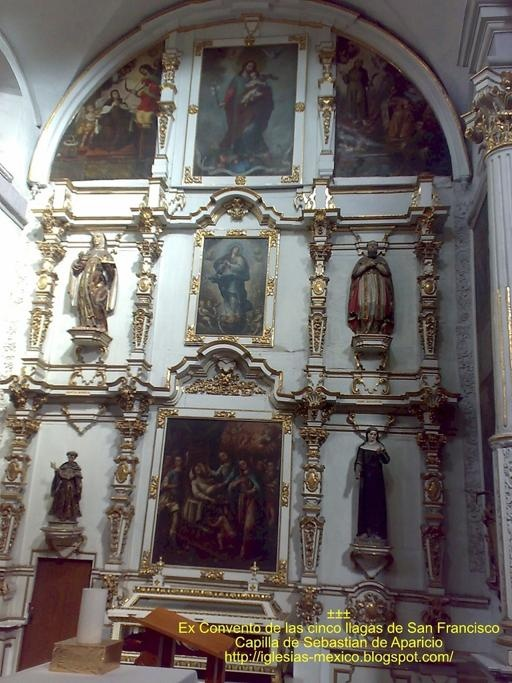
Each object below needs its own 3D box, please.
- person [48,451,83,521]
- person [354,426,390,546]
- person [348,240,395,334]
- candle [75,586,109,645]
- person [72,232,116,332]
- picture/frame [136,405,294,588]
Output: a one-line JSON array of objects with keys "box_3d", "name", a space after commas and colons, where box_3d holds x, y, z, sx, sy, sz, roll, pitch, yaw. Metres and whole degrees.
[{"box_3d": [-2.303, 1.798, 9.077, 0.467, 0.875, 0.321, 22, -29, -34], "name": "person"}, {"box_3d": [1.346, 1.653, 8.569, 0.375, 1.283, 0.339, 0, -25, 11], "name": "person"}, {"box_3d": [1.494, -0.650, 9.503, 0.578, 1.268, 0.393, 1, -25, 9], "name": "person"}, {"box_3d": [-0.891, 1.504, 4.045, 0.153, 0.291, 0.259, 9, -23, -9], "name": "candle"}, {"box_3d": [-2.214, -0.727, 10.063, 0.666, 1.214, 0.290, 10, -25, -11], "name": "person"}, {"box_3d": [-0.445, 1.960, 8.933, 2.637, 2.421, 0.106, 1, -25, 6], "name": "picture/frame"}]
